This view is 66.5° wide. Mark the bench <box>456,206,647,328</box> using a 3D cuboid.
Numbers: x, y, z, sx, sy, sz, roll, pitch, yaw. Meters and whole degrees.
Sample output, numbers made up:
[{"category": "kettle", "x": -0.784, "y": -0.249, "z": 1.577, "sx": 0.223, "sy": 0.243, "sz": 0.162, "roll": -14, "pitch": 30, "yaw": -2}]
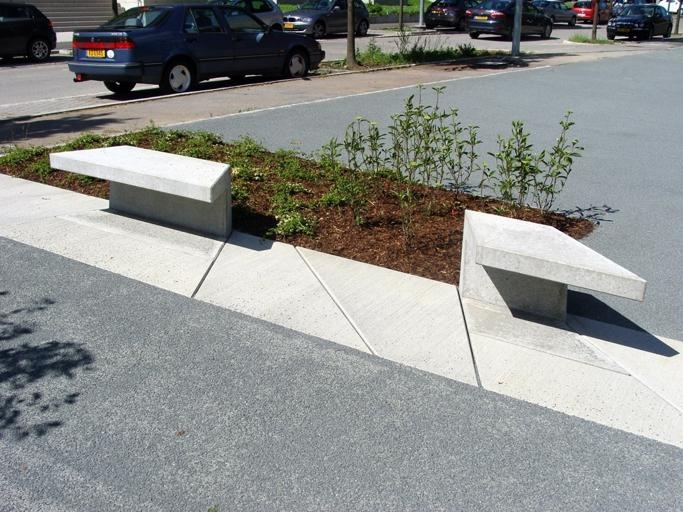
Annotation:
[{"category": "bench", "x": 1.682, "y": 0.135, "z": 4.444, "sx": 1.571, "sy": 0.679, "sz": 0.973, "roll": 21, "pitch": 35, "yaw": 32}]

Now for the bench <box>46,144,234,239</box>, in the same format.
[{"category": "bench", "x": -1.999, "y": -0.753, "z": 5.750, "sx": 2.147, "sy": 0.706, "sz": 0.747, "roll": 15, "pitch": 33, "yaw": 25}]

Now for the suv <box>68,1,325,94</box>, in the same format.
[{"category": "suv", "x": -3.570, "y": -5.224, "z": 12.957, "sx": 5.410, "sy": 1.956, "sz": 1.356, "roll": -22, "pitch": 36, "yaw": -35}]
